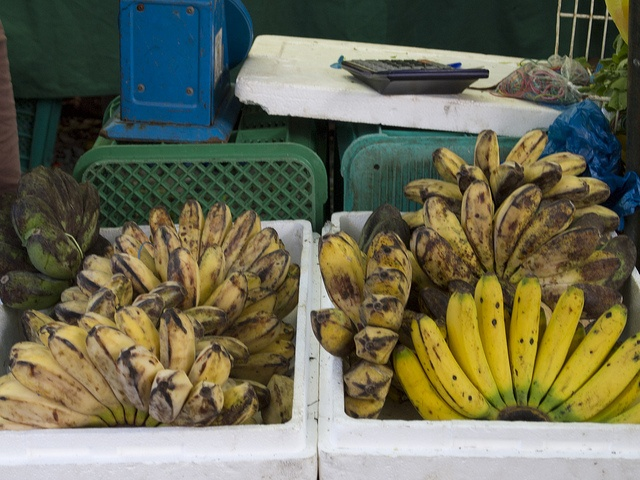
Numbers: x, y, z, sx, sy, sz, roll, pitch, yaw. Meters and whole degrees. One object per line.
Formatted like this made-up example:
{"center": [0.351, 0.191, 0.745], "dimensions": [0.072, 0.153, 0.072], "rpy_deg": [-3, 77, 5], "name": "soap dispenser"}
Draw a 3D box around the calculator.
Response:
{"center": [0.280, -0.507, 2.161], "dimensions": [0.412, 0.099, 0.314], "rpy_deg": [-5, 22, -2], "name": "calculator"}
